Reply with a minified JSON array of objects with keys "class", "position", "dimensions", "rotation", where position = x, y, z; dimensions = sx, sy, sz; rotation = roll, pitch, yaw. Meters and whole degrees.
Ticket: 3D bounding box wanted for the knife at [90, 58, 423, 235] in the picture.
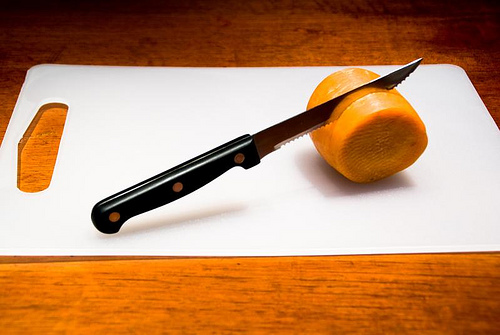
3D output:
[{"class":"knife","position":[0.012,-0.040,1.295],"dimensions":[0.906,0.116,0.045],"rotation":[-27,39,-4]}]
